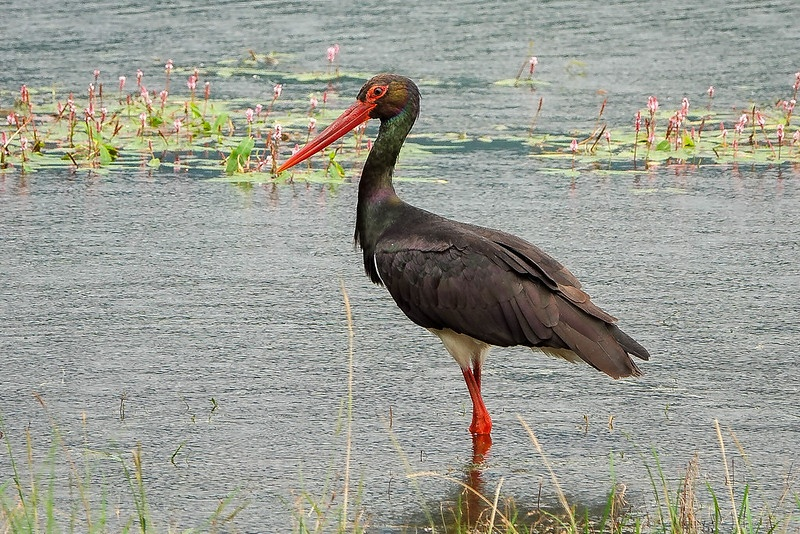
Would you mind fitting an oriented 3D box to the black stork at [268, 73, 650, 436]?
[{"bbox_3d":[0.487,-0.303,8.288,1.062,2.095,2.272,-3,7,-34],"label":"black stork"}]
